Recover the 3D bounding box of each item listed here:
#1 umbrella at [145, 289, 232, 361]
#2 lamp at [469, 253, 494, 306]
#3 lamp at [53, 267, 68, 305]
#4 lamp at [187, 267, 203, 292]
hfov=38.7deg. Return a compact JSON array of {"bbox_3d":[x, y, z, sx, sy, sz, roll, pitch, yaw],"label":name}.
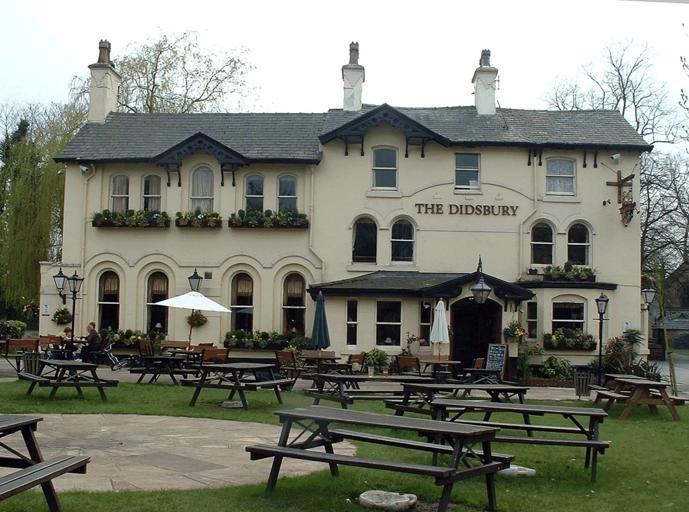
[{"bbox_3d":[-5.919,2.763,38.150,2.627,1.723,2.596,2,-6,-8],"label":"umbrella"},{"bbox_3d":[5.281,0.894,37.822,0.745,1.938,2.867,2,-8,8],"label":"lamp"},{"bbox_3d":[-11.541,1.203,39.960,0.578,1.497,1.183,6,-8,-16],"label":"lamp"},{"bbox_3d":[-6.023,0.980,39.723,0.567,0.943,0.781,4,-8,-8],"label":"lamp"}]
